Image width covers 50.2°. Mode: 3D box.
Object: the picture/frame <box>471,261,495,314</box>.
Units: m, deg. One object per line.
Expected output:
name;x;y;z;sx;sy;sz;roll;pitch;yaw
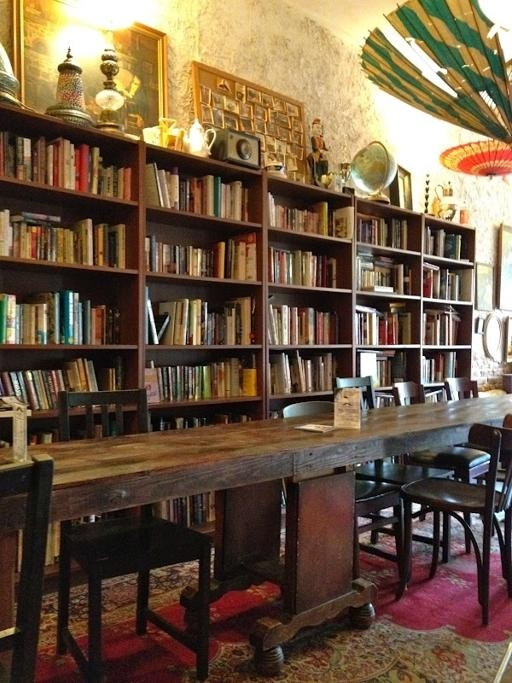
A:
picture/frame;2.477;-0.598;5.995;0.032;0.629;0.679;-1;-1;36

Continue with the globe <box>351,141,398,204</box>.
globe;0.926;-1.356;4.341;0.407;0.475;0.415;-5;5;-34
